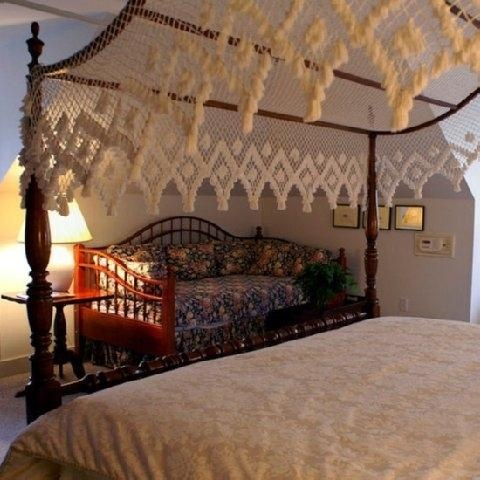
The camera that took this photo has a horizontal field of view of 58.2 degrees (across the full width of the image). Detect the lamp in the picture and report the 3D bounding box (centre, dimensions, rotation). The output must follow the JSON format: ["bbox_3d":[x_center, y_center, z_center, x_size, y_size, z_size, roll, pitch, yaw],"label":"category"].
[{"bbox_3d":[-1.521,0.022,3.696,0.379,0.894,0.484,6,3,1],"label":"lamp"}]

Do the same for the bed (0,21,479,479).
[{"bbox_3d":[-0.354,-0.100,3.186,2.550,1.704,3.380,-3,-1,-34],"label":"bed"}]

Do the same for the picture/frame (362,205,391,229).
[{"bbox_3d":[1.244,-0.202,3.899,0.175,0.267,0.021,-3,-3,33],"label":"picture/frame"}]

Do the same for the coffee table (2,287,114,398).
[{"bbox_3d":[-1.527,0.578,3.728,0.830,1.111,0.913,0,-1,-28],"label":"coffee table"}]

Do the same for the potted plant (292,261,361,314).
[{"bbox_3d":[0.776,0.355,3.986,0.343,0.380,0.433,5,16,15],"label":"potted plant"}]
